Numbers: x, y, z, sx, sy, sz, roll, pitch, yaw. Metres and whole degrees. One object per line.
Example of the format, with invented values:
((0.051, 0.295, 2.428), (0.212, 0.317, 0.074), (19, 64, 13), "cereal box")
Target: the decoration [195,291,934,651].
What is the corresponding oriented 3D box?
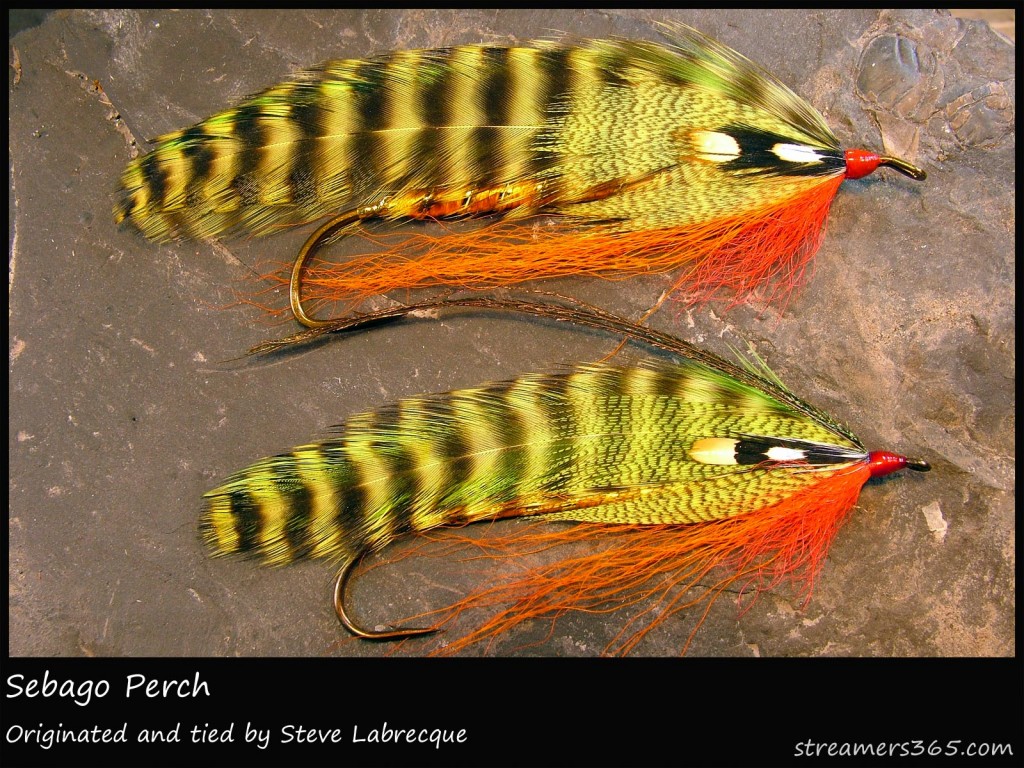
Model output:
((0.113, 0.250, 3.436), (2.249, 0.521, 1.035), (-2, 81, 15), "decoration")
